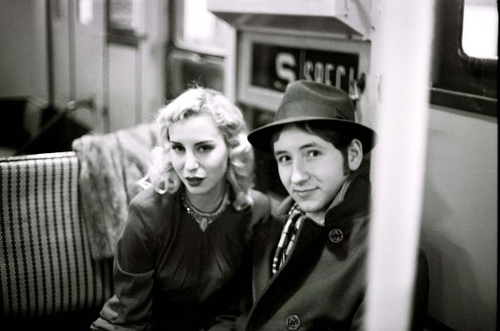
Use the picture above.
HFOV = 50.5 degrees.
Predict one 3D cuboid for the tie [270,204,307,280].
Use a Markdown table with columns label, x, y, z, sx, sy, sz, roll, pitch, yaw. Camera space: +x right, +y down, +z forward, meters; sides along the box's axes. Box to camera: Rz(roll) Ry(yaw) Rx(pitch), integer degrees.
| label | x | y | z | sx | sy | sz | roll | pitch | yaw |
| --- | --- | --- | --- | --- | --- | --- | --- | --- | --- |
| tie | 0.105 | 0.223 | 1.632 | 0.062 | 0.197 | 0.138 | 17 | 13 | 1 |

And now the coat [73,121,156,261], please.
| label | x | y | z | sx | sy | sz | roll | pitch | yaw |
| --- | --- | --- | --- | --- | --- | --- | --- | --- | --- |
| coat | -0.401 | 0.075 | 1.533 | 0.251 | 0.324 | 0.088 | -3 | 6 | -4 |

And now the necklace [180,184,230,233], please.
| label | x | y | z | sx | sy | sz | roll | pitch | yaw |
| --- | --- | --- | --- | --- | --- | --- | --- | --- | --- |
| necklace | -0.137 | 0.113 | 1.606 | 0.099 | 0.152 | 0.055 | 1 | 8 | -4 |

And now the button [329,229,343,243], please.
| label | x | y | z | sx | sy | sz | roll | pitch | yaw |
| --- | --- | --- | --- | --- | --- | --- | --- | --- | --- |
| button | 0.262 | 0.210 | 1.611 | 0.035 | 0.041 | 0.009 | 6 | 12 | 1 |
